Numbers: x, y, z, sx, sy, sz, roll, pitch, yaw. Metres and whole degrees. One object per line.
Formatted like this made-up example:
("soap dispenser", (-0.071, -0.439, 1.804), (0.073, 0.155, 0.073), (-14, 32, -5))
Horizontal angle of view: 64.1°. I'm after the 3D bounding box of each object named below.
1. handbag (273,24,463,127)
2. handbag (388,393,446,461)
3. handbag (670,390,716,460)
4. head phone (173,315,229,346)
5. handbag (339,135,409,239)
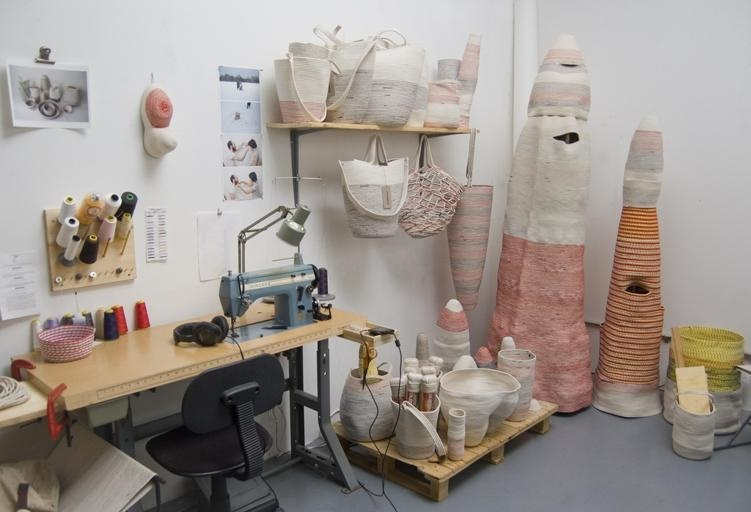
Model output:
("handbag", (-0.039, -0.985, 3.688), (1.082, 0.473, 0.614), (-3, 9, -26))
("handbag", (0.298, 0.935, 3.376), (0.239, 0.232, 0.231), (-1, 26, -31))
("handbag", (1.970, 1.052, 3.748), (0.235, 0.334, 0.341), (2, 15, 17))
("head phone", (-0.893, 0.385, 3.059), (0.193, 0.086, 0.173), (3, 11, 2))
("handbag", (-0.015, -0.429, 3.621), (0.455, 0.572, 0.311), (-5, 14, -29))
